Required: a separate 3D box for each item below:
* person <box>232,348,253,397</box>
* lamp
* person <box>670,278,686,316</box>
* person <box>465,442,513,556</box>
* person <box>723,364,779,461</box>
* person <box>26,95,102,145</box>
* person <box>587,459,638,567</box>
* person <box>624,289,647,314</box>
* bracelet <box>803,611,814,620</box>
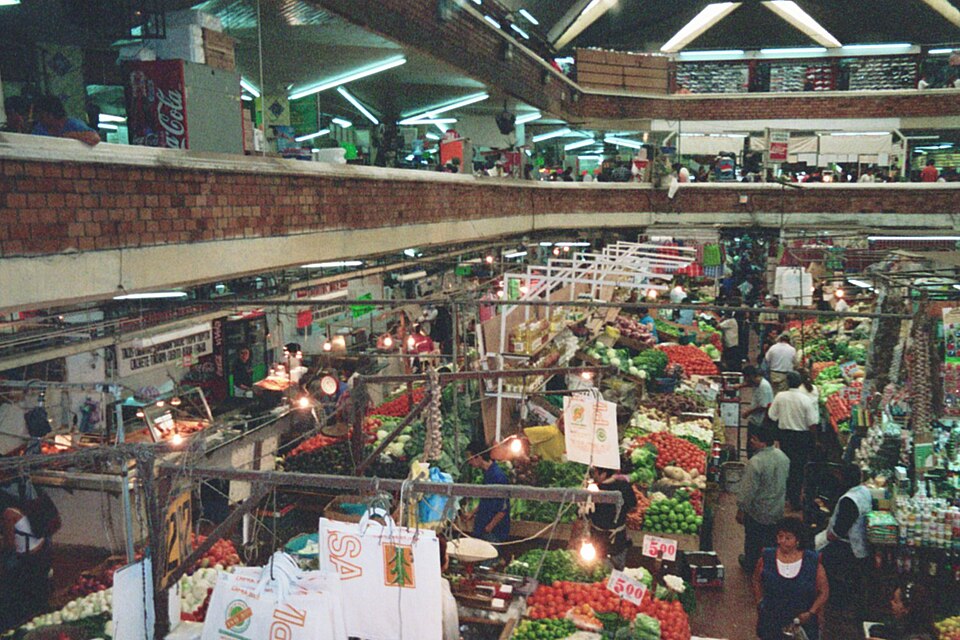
[{"bbox_3d":[-4.995,1.301,18.018,0.447,1.520,0.404,-4,22,-23],"label":"person"},{"bbox_3d":[-2.395,-4.543,17.092,2.663,0.686,2.847,-14,11,-43],"label":"lamp"},{"bbox_3d":[4.812,-0.549,20.586,0.410,0.953,2.887,1,4,14],"label":"person"},{"bbox_3d":[0.153,2.536,12.367,0.613,1.558,0.968,0,4,2],"label":"person"},{"bbox_3d":[4.730,1.647,14.829,0.663,0.751,1.549,6,-39,11],"label":"person"},{"bbox_3d":[-4.791,-2.270,9.791,0.641,0.676,1.730,-2,4,-28],"label":"person"},{"bbox_3d":[1.812,2.782,11.925,0.599,1.505,0.864,2,4,23],"label":"person"},{"bbox_3d":[3.128,-0.412,17.152,0.338,0.554,0.728,4,-17,-9],"label":"person"},{"bbox_3d":[4.031,3.631,10.421,0.107,0.034,0.114,-3,0,15],"label":"bracelet"}]
